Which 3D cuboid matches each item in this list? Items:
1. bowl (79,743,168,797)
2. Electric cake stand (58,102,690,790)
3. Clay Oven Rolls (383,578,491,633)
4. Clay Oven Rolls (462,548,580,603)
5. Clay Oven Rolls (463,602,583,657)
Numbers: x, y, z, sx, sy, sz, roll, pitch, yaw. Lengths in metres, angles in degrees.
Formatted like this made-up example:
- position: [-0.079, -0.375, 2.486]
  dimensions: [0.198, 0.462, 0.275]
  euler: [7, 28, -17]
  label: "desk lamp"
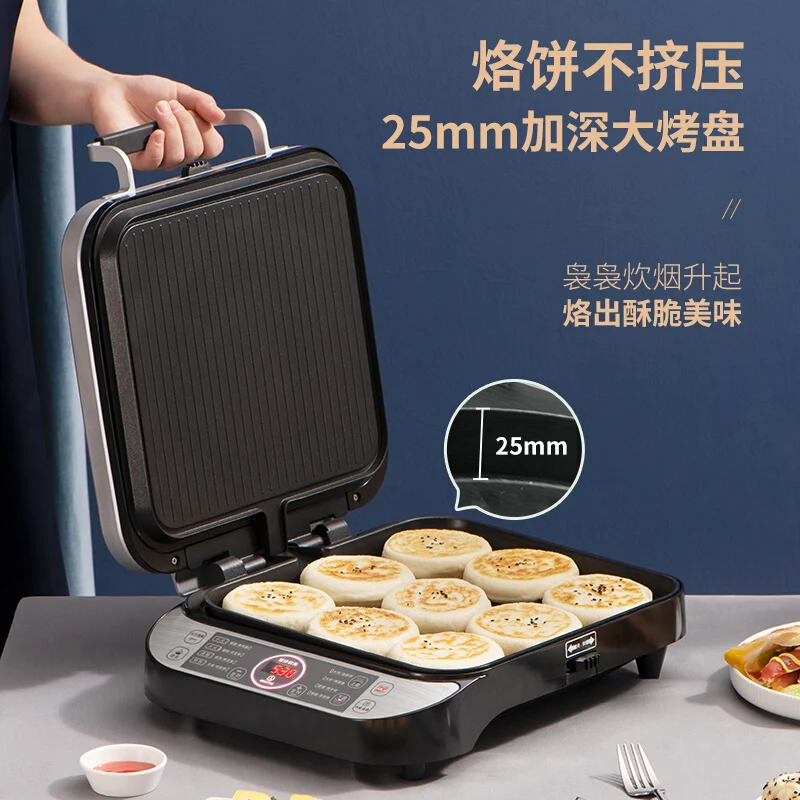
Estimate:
- position: [-0.236, 0.319, 0.744]
  dimensions: [0.070, 0.029, 0.054]
  euler: [6, 10, 39]
  label: "bowl"
- position: [-0.040, -0.015, 1.160]
  dimensions: [0.796, 0.722, 0.763]
  euler: [11, 22, 40]
  label: "Electric cake stand"
- position: [0.041, 0.217, 0.941]
  dimensions: [0.092, 0.018, 0.081]
  euler: [-6, 23, -5]
  label: "Clay Oven Rolls"
- position: [0.142, 0.198, 1.008]
  dimensions: [0.116, 0.023, 0.113]
  euler: [-3, 15, 1]
  label: "Clay Oven Rolls"
- position: [0.116, 0.217, 0.880]
  dimensions: [0.132, 0.110, 0.024]
  euler: [-8, 48, -4]
  label: "Clay Oven Rolls"
